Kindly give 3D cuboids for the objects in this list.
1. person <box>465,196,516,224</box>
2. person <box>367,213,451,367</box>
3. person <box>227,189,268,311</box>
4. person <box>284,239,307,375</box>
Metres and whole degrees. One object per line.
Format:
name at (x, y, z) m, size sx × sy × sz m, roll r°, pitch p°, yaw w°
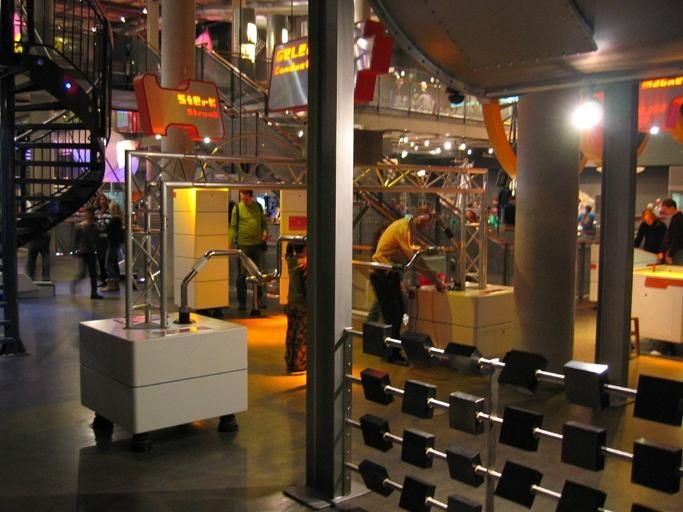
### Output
person at (2.870, -0.880, 12.564) m, size 1.040 × 0.482 × 1.041 m, roll -2°, pitch 4°, yaw -32°
person at (0.743, 0.356, 7.917) m, size 0.793 × 1.857 × 1.065 m, roll 2°, pitch 4°, yaw 2°
person at (-1.511, -0.069, 10.576) m, size 0.613 × 2.003 × 1.205 m, roll 1°, pitch 4°, yaw -10°
person at (-0.504, 0.586, 7.214) m, size 0.239 × 1.523 × 0.525 m, roll 1°, pitch 4°, yaw -5°
